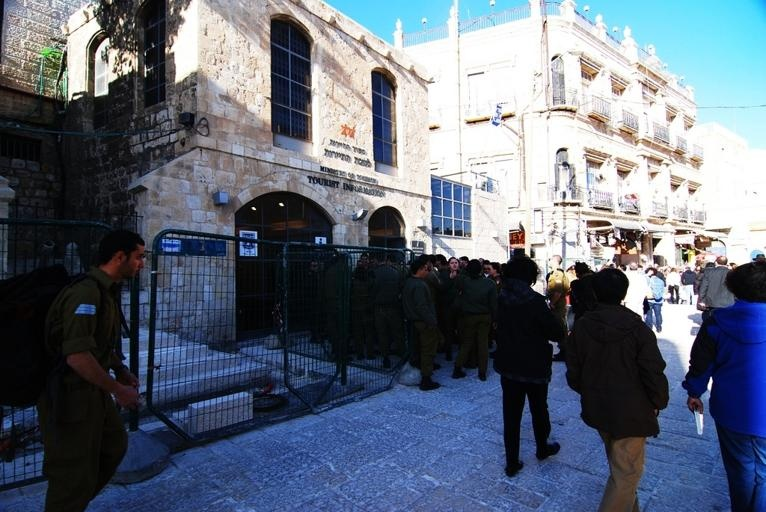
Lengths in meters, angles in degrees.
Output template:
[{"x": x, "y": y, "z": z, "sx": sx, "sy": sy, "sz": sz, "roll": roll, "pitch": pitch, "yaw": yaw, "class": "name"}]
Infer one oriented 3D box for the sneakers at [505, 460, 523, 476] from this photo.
[{"x": 1.992, "y": 3.244, "z": 8.820, "sx": 0.121, "sy": 0.156, "sz": 0.342, "roll": 2, "pitch": 10, "yaw": 43, "class": "sneakers"}]
